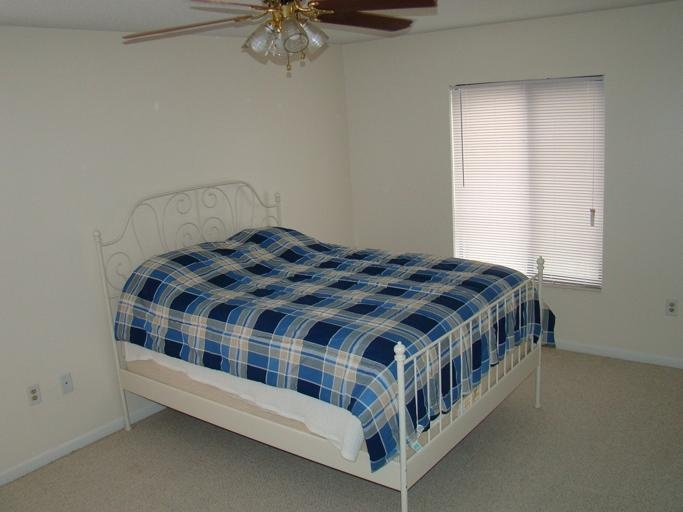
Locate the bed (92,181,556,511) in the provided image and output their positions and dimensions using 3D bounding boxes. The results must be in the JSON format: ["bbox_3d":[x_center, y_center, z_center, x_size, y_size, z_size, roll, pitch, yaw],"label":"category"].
[{"bbox_3d":[-0.216,0.543,4.445,2.953,1.996,2.165,9,19,33],"label":"bed"}]
